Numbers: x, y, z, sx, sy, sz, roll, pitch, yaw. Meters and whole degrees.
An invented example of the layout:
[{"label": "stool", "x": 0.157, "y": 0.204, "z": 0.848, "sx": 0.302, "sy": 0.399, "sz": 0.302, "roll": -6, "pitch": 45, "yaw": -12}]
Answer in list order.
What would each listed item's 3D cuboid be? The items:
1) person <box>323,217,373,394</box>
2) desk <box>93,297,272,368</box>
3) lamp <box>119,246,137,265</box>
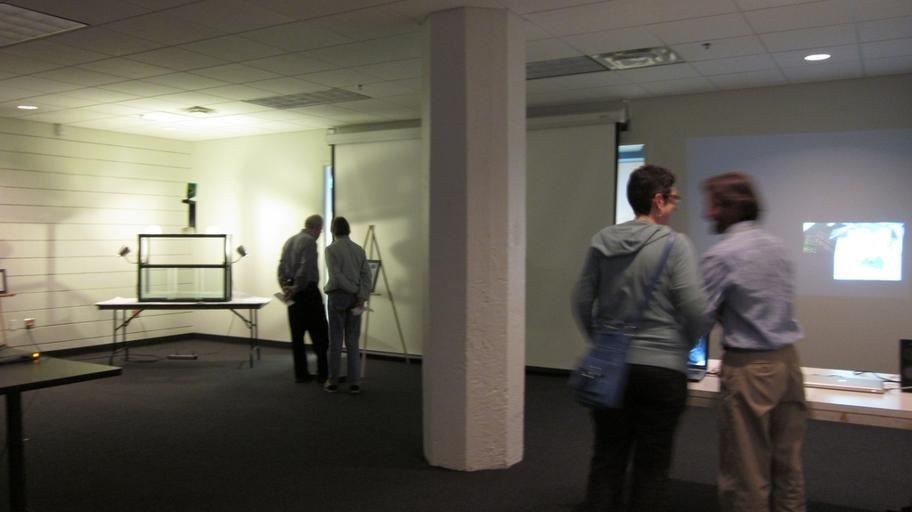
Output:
[{"label": "person", "x": -1.568, "y": 0.692, "z": 9.192, "sx": 0.648, "sy": 2.463, "sz": 0.707, "roll": -1, "pitch": 8, "yaw": -7}, {"label": "desk", "x": -4.718, "y": 1.183, "z": 11.488, "sx": 3.308, "sy": 1.151, "sz": 2.166, "roll": 1, "pitch": 8, "yaw": 5}, {"label": "lamp", "x": -6.052, "y": -0.016, "z": 11.796, "sx": 0.286, "sy": 0.353, "sz": 0.612, "roll": -4, "pitch": 9, "yaw": -27}]
